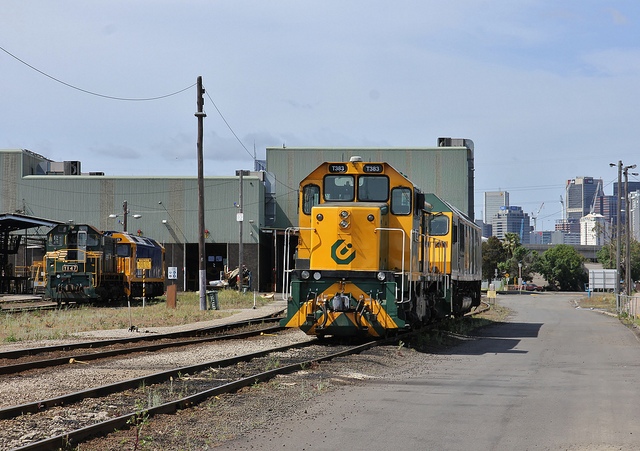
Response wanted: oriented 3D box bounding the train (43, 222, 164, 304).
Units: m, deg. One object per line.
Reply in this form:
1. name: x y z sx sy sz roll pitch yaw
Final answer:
1. train: -13.730 2.388 44.281 6.214 4.434 12.997 -2 -4 0

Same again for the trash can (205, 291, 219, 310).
1. trash can: -5.465 3.720 36.417 0.777 1.209 0.656 0 -4 -25

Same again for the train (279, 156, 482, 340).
1. train: 2.550 0.840 24.724 3.086 3.844 10.553 0 -2 14
